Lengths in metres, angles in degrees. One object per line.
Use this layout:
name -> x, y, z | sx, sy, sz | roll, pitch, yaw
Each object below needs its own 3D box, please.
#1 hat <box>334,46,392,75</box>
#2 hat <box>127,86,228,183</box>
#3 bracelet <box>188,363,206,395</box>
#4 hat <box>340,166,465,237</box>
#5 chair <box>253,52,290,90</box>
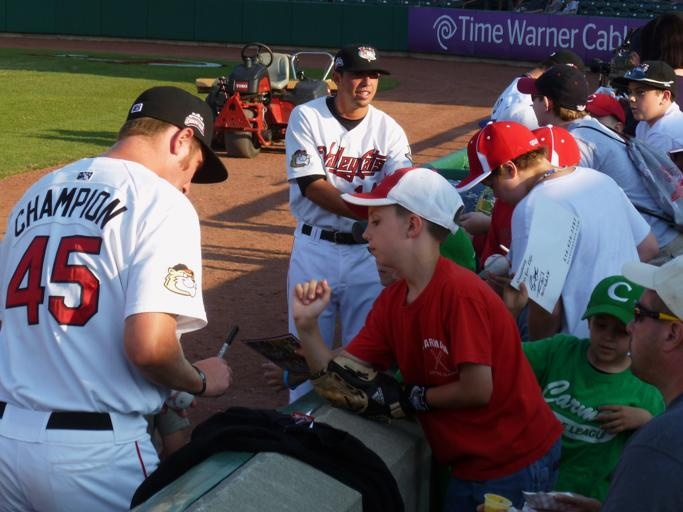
hat -> 0.078, -1.289, 4.162 | 0.222, 0.146, 0.285 | -4, 6, -34
hat -> -0.619, -0.515, 2.665 | 0.476, 0.238, 0.344 | 25, -2, -28
bracelet -> -0.566, 0.491, 2.525 | 0.093, 0.107, 0.042 | 1, 1, 36
hat -> 0.243, -0.262, 2.638 | 0.503, 0.238, 0.307 | 9, 1, 7
chair -> -1.401, -3.767, 12.857 | 0.674, 0.602, 0.851 | 0, 14, 1
